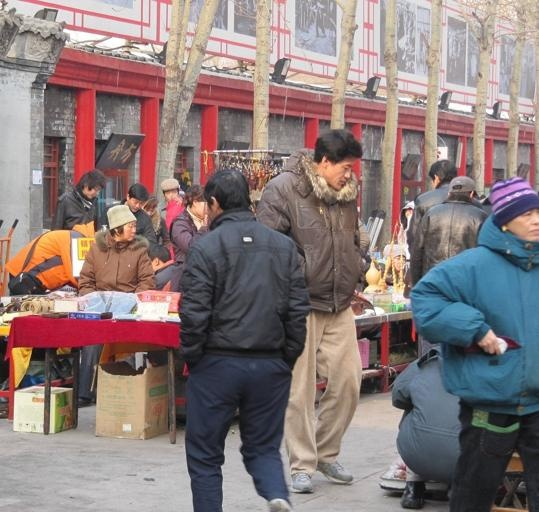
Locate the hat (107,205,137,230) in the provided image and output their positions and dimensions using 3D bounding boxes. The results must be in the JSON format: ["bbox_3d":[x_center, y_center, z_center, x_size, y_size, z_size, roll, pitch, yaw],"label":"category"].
[{"bbox_3d":[-1.364,-0.350,8.108,0.223,0.202,0.187,-4,2,2],"label":"hat"}]

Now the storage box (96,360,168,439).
[{"bbox_3d":[-1.148,1.092,7.350,0.463,0.742,0.688,1,-4,22],"label":"storage box"}]

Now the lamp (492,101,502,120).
[{"bbox_3d":[10.083,-6.422,38.709,0.412,0.862,1.416,0,2,15],"label":"lamp"}]

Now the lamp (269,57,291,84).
[{"bbox_3d":[0.310,-5.218,24.986,0.508,0.708,0.851,0,2,-2],"label":"lamp"}]

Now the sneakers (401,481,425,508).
[{"bbox_3d":[0.867,1.431,5.248,0.074,0.171,0.212,2,5,16],"label":"sneakers"}]

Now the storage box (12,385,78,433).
[{"bbox_3d":[-1.900,1.244,7.358,0.341,0.324,0.385,1,-3,4],"label":"storage box"}]

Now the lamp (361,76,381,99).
[{"bbox_3d":[3.344,-5.482,28.681,0.518,0.712,0.761,0,2,7],"label":"lamp"}]
